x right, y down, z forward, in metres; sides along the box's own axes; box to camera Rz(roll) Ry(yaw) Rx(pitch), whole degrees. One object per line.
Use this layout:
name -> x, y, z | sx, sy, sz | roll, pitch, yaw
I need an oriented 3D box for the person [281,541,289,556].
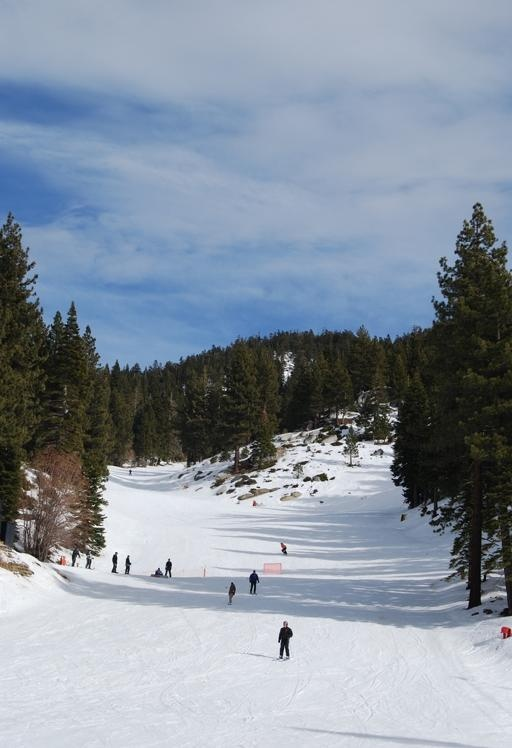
person -> 1.771, 10.756, 57.589 | 0.391, 1.183, 0.393 | 4, -12, -22
